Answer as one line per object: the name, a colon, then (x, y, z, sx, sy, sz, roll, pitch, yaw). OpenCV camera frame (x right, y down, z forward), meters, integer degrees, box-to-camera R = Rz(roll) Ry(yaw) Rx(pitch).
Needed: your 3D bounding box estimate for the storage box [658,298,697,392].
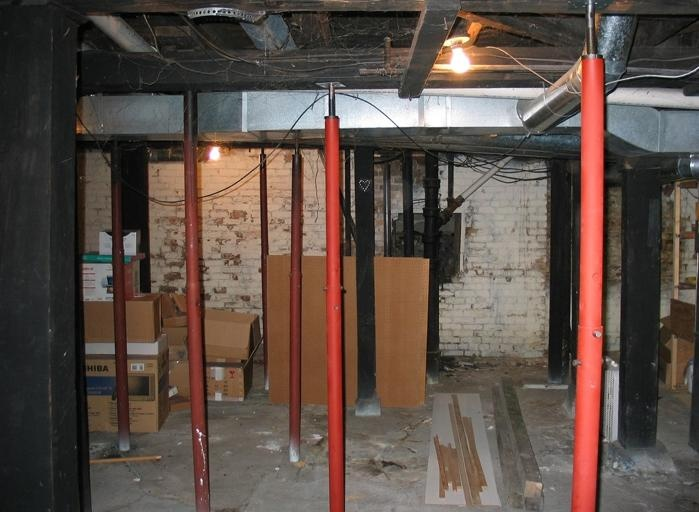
storage box: (3.842, 1.023, 8.640, 0.243, 1.023, 0.648, 0, 2, -7)
